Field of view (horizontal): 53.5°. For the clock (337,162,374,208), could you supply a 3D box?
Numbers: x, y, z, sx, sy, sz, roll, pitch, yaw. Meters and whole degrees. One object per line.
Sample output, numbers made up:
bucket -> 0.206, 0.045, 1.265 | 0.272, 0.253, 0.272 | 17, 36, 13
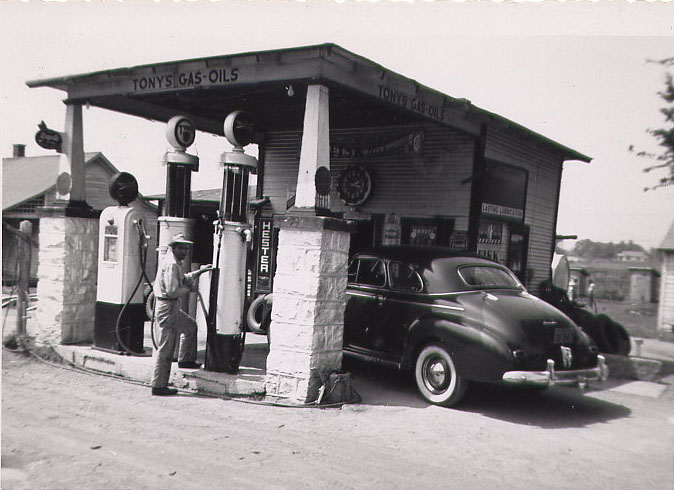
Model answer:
clock -> 0.476, -1.471, 16.572 | 0.249, 1.291, 1.205 | -14, 9, -32

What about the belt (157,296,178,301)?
belt -> -2.796, 0.909, 11.095 | 0.297, 0.085, 0.087 | 0, 9, -14

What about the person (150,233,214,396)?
person -> -2.700, 1.140, 11.324 | 0.737, 2.576, 1.307 | 4, 9, 11

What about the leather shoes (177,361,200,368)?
leather shoes -> -2.589, 2.098, 11.753 | 0.358, 0.167, 0.137 | 3, -3, -26
